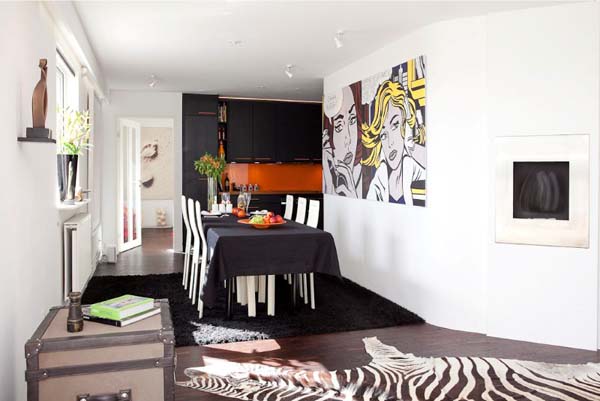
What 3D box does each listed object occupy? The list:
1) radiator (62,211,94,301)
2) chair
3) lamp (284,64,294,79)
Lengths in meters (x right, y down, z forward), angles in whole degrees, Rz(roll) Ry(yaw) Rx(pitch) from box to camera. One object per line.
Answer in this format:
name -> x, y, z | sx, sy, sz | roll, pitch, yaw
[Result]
radiator -> -2.390, 0.577, 4.510 | 0.148, 0.585, 1.114 | -2, 3, -14
chair -> -0.620, 0.915, 5.221 | 1.375, 0.978, 2.009 | 0, 0, -17
lamp -> -0.158, -1.990, 6.499 | 0.179, 0.157, 0.179 | -2, 10, -22
